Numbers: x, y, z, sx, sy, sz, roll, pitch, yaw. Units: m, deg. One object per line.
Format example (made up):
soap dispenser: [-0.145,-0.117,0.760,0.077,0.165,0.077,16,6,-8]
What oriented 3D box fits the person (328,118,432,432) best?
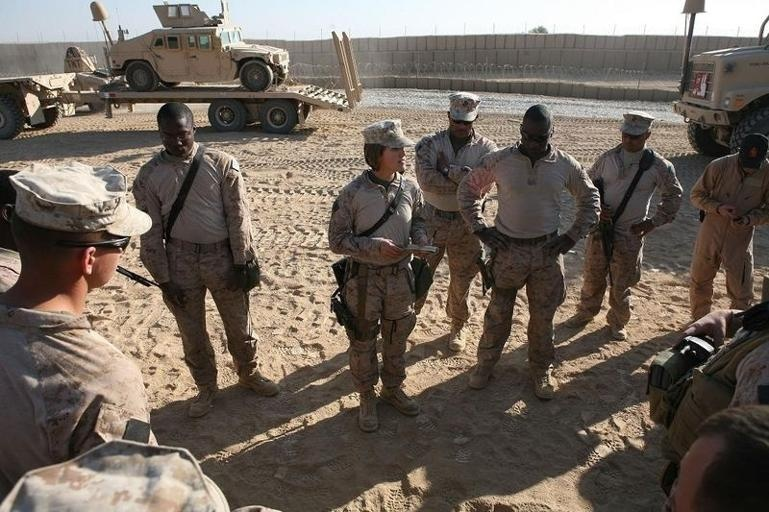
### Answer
person: [-0.003,0.179,4.997,0.887,2.483,0.722,-12,26,-17]

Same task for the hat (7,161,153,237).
hat: [-1.477,-0.280,2.965,0.551,0.155,0.380,8,24,-22]

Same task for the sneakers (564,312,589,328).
sneakers: [2.086,0.700,6.543,0.325,0.127,0.120,-7,31,-12]

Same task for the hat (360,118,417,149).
hat: [0.010,-0.959,4.787,0.366,0.153,0.253,1,26,2]

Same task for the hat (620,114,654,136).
hat: [2.443,-1.301,5.894,0.266,0.210,0.324,4,24,17]

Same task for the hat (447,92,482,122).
hat: [0.766,-1.454,5.933,0.303,0.193,0.335,3,26,1]

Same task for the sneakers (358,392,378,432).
sneakers: [-0.148,1.321,5.164,0.138,0.153,0.363,-1,29,-3]

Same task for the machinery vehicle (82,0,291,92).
machinery vehicle: [-4.910,-5.348,15.501,4.300,2.203,1.773,-1,24,6]

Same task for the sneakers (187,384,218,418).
sneakers: [-1.604,1.283,5.322,0.145,0.159,0.376,6,8,2]

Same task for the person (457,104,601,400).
person: [1.241,-0.017,5.339,1.176,2.524,0.781,-1,25,6]
